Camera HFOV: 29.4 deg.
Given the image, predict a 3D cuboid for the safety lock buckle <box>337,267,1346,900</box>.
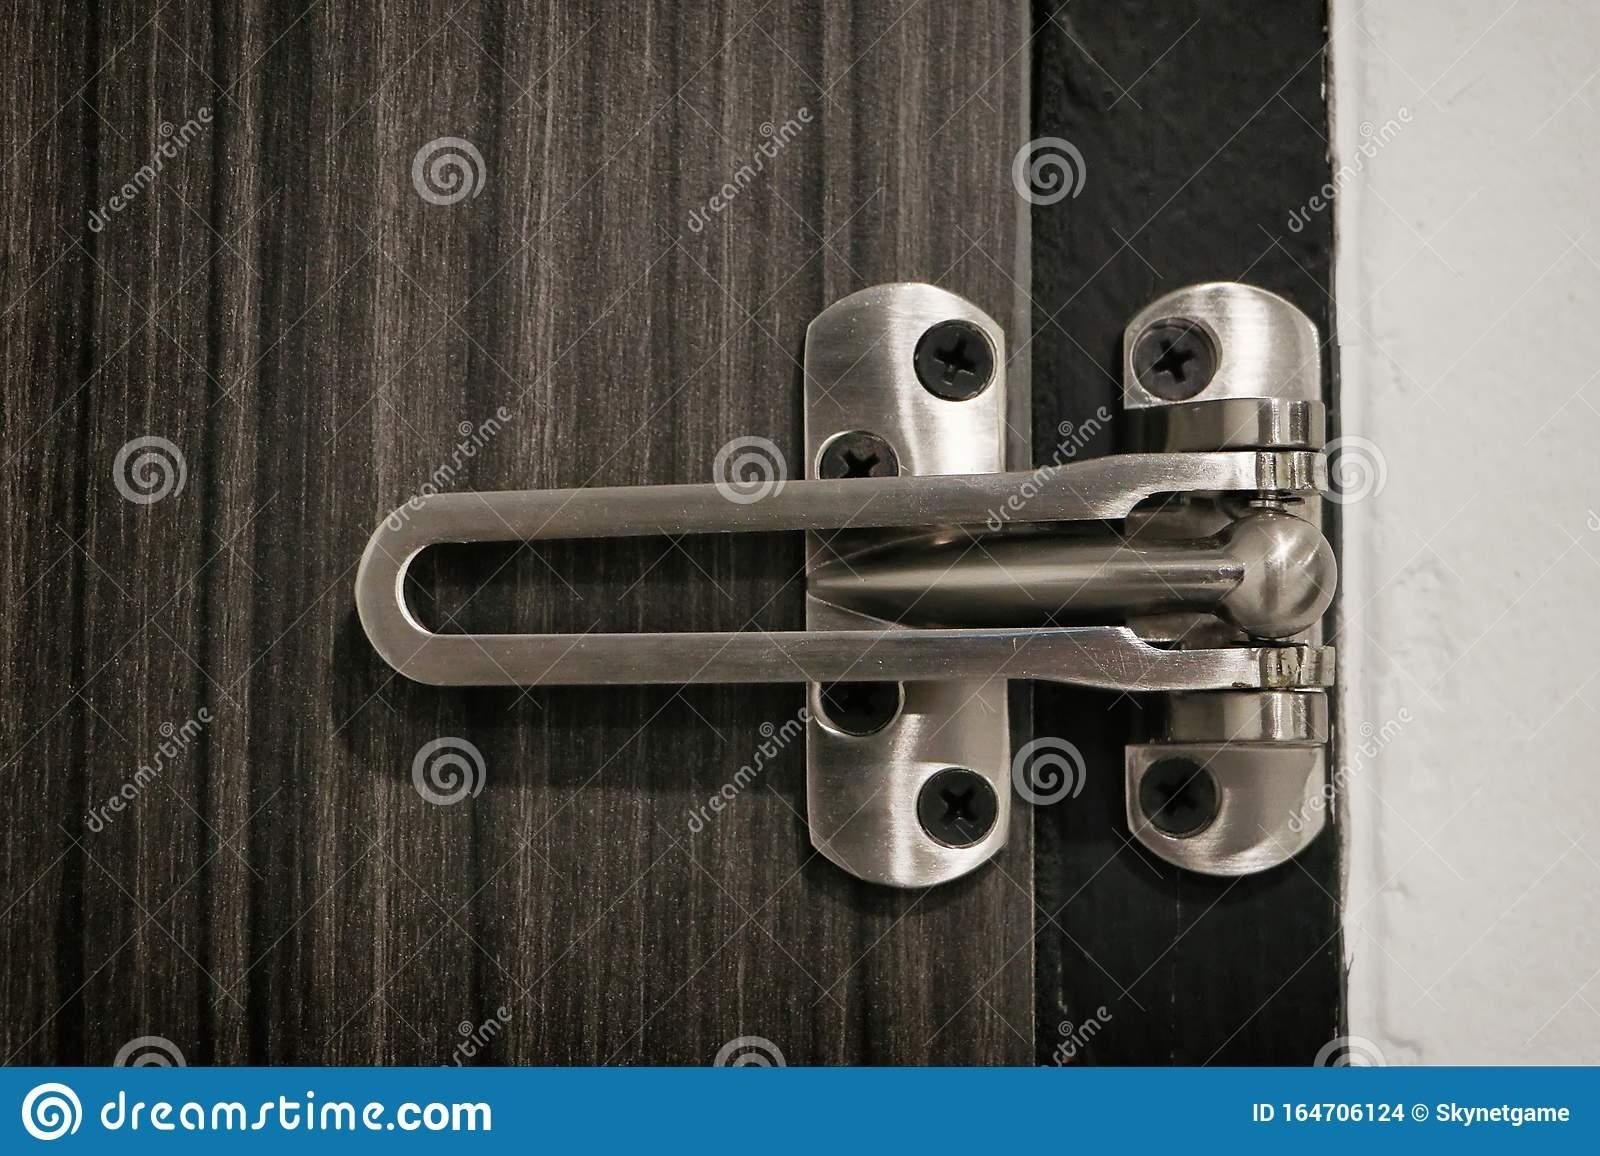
[{"bbox_3d":[0.037,0.013,1.805,0.560,0.366,0.168,-4,-4,4],"label":"safety lock buckle"}]
